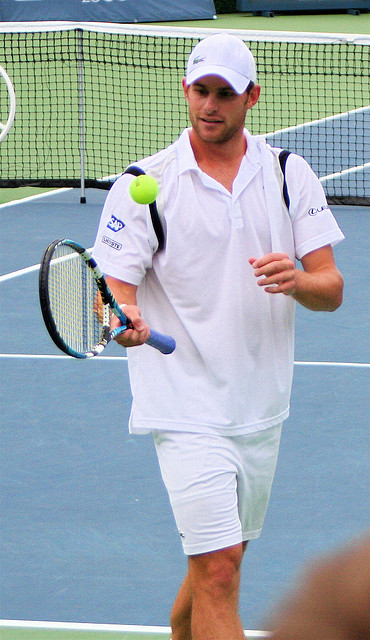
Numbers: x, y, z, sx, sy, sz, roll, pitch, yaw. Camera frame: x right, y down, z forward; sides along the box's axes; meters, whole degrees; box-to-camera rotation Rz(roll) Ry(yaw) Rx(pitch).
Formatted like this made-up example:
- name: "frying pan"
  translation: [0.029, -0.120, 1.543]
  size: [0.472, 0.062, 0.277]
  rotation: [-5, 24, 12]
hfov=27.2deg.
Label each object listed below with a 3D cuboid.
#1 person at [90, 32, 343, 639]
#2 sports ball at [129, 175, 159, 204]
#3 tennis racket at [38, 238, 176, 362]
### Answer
- name: "person"
  translation: [0.157, -0.009, 2.181]
  size: [0.698, 1.636, 0.587]
  rotation: [-7, 11, -20]
- name: "sports ball"
  translation: [-0.108, -0.347, 2.028]
  size: [0.079, 0.077, 0.089]
  rotation: [2, 10, 26]
- name: "tennis racket"
  translation: [-0.259, -0.067, 2.079]
  size: [0.218, 0.322, 0.675]
  rotation: [-4, 9, -6]
